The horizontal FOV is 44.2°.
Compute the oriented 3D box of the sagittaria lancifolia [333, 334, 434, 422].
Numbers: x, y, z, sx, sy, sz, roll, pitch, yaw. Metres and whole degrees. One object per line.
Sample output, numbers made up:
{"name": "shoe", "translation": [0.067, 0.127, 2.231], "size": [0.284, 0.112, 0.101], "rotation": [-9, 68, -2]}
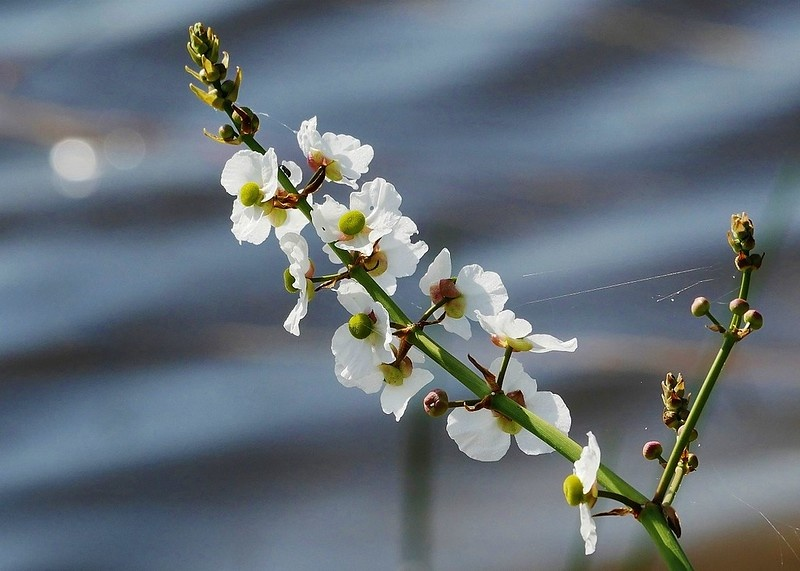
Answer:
{"name": "sagittaria lancifolia", "translation": [-0.009, 0.145, 1.834], "size": [0.170, 0.069, 0.165], "rotation": [6, -86, -23]}

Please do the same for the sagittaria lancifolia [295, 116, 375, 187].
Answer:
{"name": "sagittaria lancifolia", "translation": [-0.133, -0.252, 1.916], "size": [0.112, 0.117, 0.056], "rotation": [39, -98, -38]}

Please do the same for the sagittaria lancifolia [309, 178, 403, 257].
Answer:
{"name": "sagittaria lancifolia", "translation": [-0.074, -0.126, 1.777], "size": [0.138, 0.149, 0.062], "rotation": [-31, -27, 1]}

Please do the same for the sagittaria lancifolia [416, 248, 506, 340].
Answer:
{"name": "sagittaria lancifolia", "translation": [0.105, 0.027, 1.879], "size": [0.155, 0.163, 0.070], "rotation": [-30, -99, 11]}

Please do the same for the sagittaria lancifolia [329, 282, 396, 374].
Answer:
{"name": "sagittaria lancifolia", "translation": [-0.071, 0.083, 1.825], "size": [0.055, 0.160, 0.154], "rotation": [9, -70, -14]}
